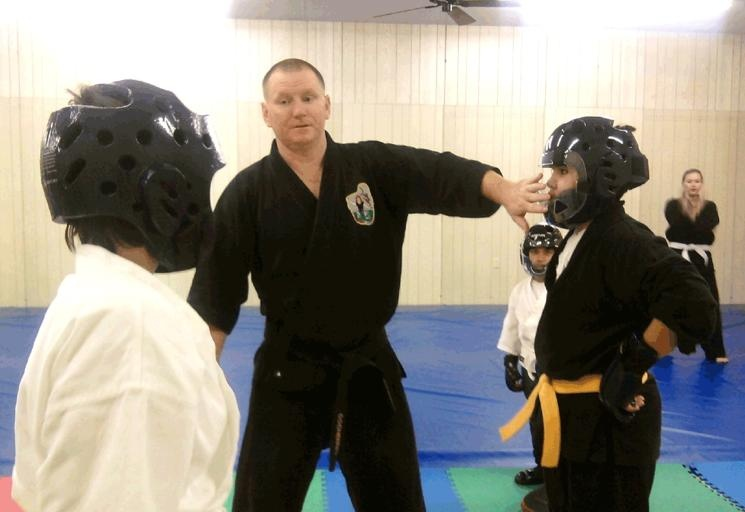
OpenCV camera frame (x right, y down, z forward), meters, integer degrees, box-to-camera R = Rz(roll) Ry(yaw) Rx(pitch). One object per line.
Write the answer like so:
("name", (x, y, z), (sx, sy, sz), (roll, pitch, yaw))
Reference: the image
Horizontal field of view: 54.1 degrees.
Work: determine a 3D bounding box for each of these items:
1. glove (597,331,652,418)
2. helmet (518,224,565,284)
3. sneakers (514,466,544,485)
("glove", (1.569, 0.728, 4.563), (0.493, 0.310, 0.191), (-57, 19, -19))
("helmet", (1.418, -0.016, 6.211), (0.421, 0.596, 0.568), (-4, -1, 18))
("sneakers", (1.256, 1.766, 5.916), (0.226, 0.234, 0.110), (4, -3, 2))
